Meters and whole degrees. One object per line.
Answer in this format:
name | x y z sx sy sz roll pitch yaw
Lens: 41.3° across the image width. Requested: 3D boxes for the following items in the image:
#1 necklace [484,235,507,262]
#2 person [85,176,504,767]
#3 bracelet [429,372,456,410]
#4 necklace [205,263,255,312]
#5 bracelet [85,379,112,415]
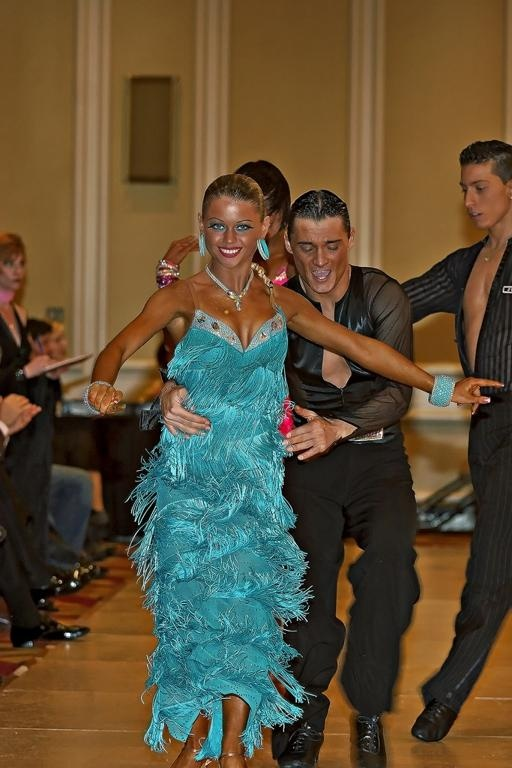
necklace | 0.756 -0.429 2.151 0.053 0.075 0.075 1 2 5
person | 0.005 0.181 1.419 0.716 1.236 0.336 5 -11 -15
bracelet | 0.468 0.018 1.749 0.091 0.081 0.070 6 21 4
necklace | -0.046 -0.195 1.448 0.090 0.103 0.016 -3 -14 -36
bracelet | -0.293 0.024 1.211 0.059 0.055 0.022 0 1 -12
